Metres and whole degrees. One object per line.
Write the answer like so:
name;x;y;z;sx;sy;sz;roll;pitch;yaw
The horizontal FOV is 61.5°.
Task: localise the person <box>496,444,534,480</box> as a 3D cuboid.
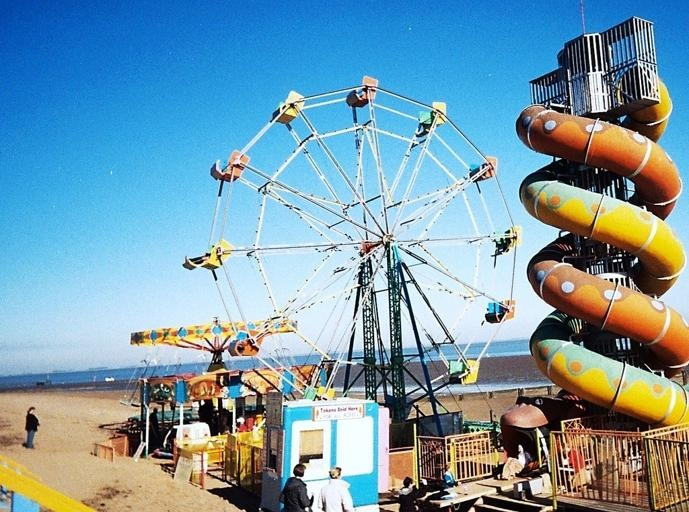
person;4.937;5.946;16.770;0.981;0.908;0.740;-2;-18;0
